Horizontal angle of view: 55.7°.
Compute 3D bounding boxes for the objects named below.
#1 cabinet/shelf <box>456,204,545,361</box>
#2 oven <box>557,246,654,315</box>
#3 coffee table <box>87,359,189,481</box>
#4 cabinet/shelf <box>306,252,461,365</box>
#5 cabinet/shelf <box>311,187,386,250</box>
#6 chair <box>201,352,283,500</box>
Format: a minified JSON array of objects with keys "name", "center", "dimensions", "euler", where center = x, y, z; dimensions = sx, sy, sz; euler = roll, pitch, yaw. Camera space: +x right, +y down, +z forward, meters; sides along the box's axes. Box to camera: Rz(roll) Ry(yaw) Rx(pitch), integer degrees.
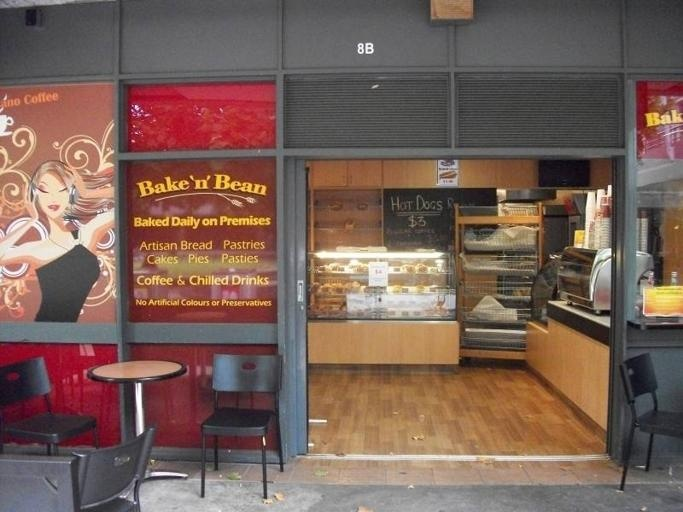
[{"name":"cabinet/shelf","center":[2.055,0.326,8.548],"dimensions":[1.136,2.036,1.174],"euler":[2,9,14]},{"name":"oven","center":[2.650,0.210,6.567],"dimensions":[0.662,0.562,0.876],"euler":[-5,5,-9]},{"name":"coffee table","center":[-1.551,1.354,5.339],"dimensions":[0.967,0.997,0.914],"euler":[0,0,5]},{"name":"cabinet/shelf","center":[0.520,0.662,8.404],"dimensions":[2.011,1.360,0.983],"euler":[-2,-5,5]},{"name":"cabinet/shelf","center":[0.110,-0.523,9.250],"dimensions":[0.957,0.819,0.295],"euler":[0,-3,0]},{"name":"chair","center":[-0.817,1.326,5.225],"dimensions":[0.678,1.017,0.746],"euler":[-1,9,-3]}]
